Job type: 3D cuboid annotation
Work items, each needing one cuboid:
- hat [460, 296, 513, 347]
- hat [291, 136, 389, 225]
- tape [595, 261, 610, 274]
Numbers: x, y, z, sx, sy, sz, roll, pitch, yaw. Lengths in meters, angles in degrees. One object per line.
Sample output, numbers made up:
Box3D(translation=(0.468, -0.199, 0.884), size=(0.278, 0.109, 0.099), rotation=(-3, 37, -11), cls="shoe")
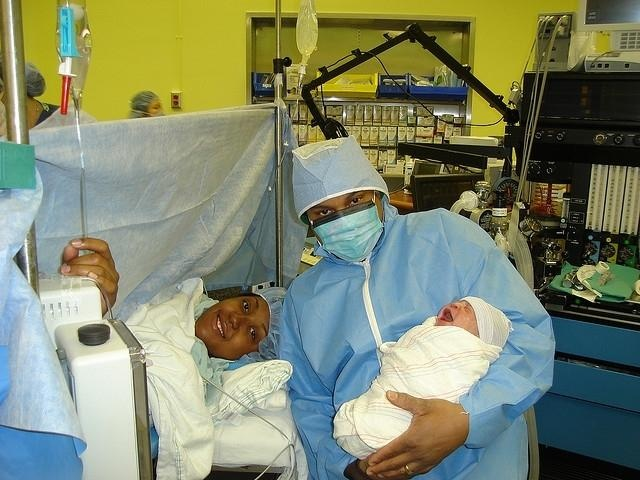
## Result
Box3D(translation=(0.497, 0.239, 1.511), size=(0.110, 0.151, 0.127), rotation=(5, 15, 18), cls="hat")
Box3D(translation=(0.073, -0.247, 1.916), size=(0.329, 0.230, 0.339), rotation=(-15, -4, 27), cls="hat")
Box3D(translation=(1.261, 0.115, 2.300), size=(0.046, 0.041, 0.052), rotation=(9, 49, -10), cls="tape")
